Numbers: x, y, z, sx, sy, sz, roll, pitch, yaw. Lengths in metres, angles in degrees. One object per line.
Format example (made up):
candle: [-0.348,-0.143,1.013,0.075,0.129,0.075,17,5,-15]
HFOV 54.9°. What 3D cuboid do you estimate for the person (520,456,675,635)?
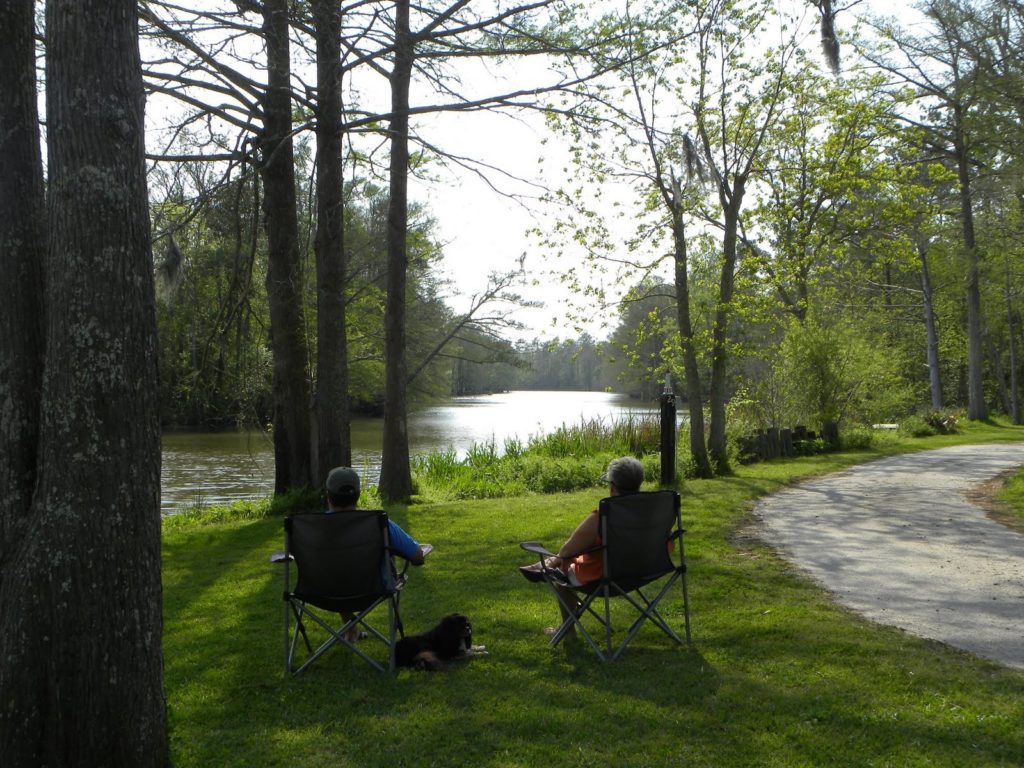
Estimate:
person: [0.645,1.311,7.808,1.115,1.702,1.118,-6,8,-31]

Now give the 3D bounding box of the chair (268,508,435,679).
chair: [-1.254,1.505,7.491,0.979,1.334,0.924,-1,5,-11]

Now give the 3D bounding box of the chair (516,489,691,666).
chair: [0.783,1.497,7.841,1.032,1.312,1.129,-1,-1,-42]

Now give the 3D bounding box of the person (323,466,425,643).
person: [-1.027,1.037,7.585,0.675,1.057,0.721,4,9,16]

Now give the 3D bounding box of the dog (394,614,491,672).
dog: [-0.552,1.957,7.389,0.669,0.391,0.429,-6,-14,-32]
